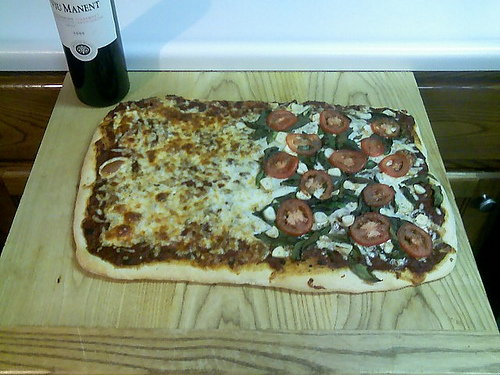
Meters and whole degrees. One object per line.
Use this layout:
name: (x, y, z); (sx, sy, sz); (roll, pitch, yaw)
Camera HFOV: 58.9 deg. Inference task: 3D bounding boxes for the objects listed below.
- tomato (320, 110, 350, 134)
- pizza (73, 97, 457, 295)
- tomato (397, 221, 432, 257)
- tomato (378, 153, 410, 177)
tomato: (0.291, -0.238, 1.531); (0.098, 0.106, 0.045); (9, 91, 2)
pizza: (0.053, 0.011, 1.321); (0.920, 0.102, 0.655); (1, 60, -6)
tomato: (0.499, 0.158, 1.308); (0.037, 0.091, 0.120); (8, 18, -32)
tomato: (0.476, -0.085, 1.434); (0.110, 0.142, 0.041); (1, 79, 15)
